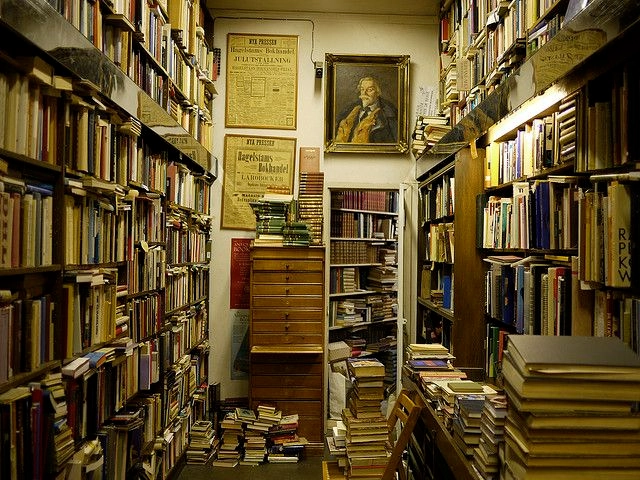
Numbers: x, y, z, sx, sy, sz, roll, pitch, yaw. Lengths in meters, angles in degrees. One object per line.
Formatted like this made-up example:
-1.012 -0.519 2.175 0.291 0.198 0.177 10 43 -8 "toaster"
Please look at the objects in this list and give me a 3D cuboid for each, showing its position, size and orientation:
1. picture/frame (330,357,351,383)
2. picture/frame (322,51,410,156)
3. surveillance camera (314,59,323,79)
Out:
0.188 1.286 6.405 0.229 0.168 0.286 1 -1 -17 "picture/frame"
0.463 -1.348 6.322 0.855 1.154 0.079 1 -21 3 "picture/frame"
-0.009 -1.653 6.249 0.111 0.246 0.131 2 20 1 "surveillance camera"
